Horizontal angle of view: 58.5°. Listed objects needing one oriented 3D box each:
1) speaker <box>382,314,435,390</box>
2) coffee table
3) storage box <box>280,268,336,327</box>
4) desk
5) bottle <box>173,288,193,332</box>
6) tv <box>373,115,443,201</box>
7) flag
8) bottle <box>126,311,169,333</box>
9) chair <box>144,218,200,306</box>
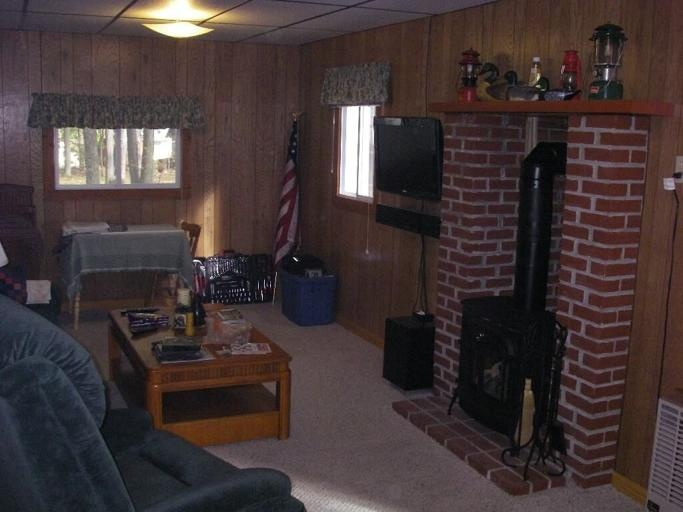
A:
[{"bbox_3d":[0.534,0.776,4.844,0.241,0.520,0.423,-9,16,-41],"label":"speaker"},{"bbox_3d":[-0.858,0.508,3.958,0.795,0.467,1.281,-2,11,-28],"label":"coffee table"},{"bbox_3d":[-0.340,0.437,6.722,0.533,0.501,0.727,-1,7,-22],"label":"storage box"},{"bbox_3d":[-2.494,0.040,6.550,1.381,0.778,1.624,7,-11,-37],"label":"desk"},{"bbox_3d":[-1.148,0.401,4.435,0.140,0.347,0.137,1,1,0],"label":"bottle"},{"bbox_3d":[0.571,-0.824,5.054,0.104,0.562,0.774,-11,15,-35],"label":"tv"},{"bbox_3d":[-0.587,-0.705,7.008,0.225,1.642,0.542,6,13,21],"label":"flag"},{"bbox_3d":[-1.428,0.476,4.411,0.203,0.096,0.159,6,4,12],"label":"bottle"},{"bbox_3d":[-1.869,0.078,6.780,0.526,0.852,0.501,-3,14,-24],"label":"chair"}]
